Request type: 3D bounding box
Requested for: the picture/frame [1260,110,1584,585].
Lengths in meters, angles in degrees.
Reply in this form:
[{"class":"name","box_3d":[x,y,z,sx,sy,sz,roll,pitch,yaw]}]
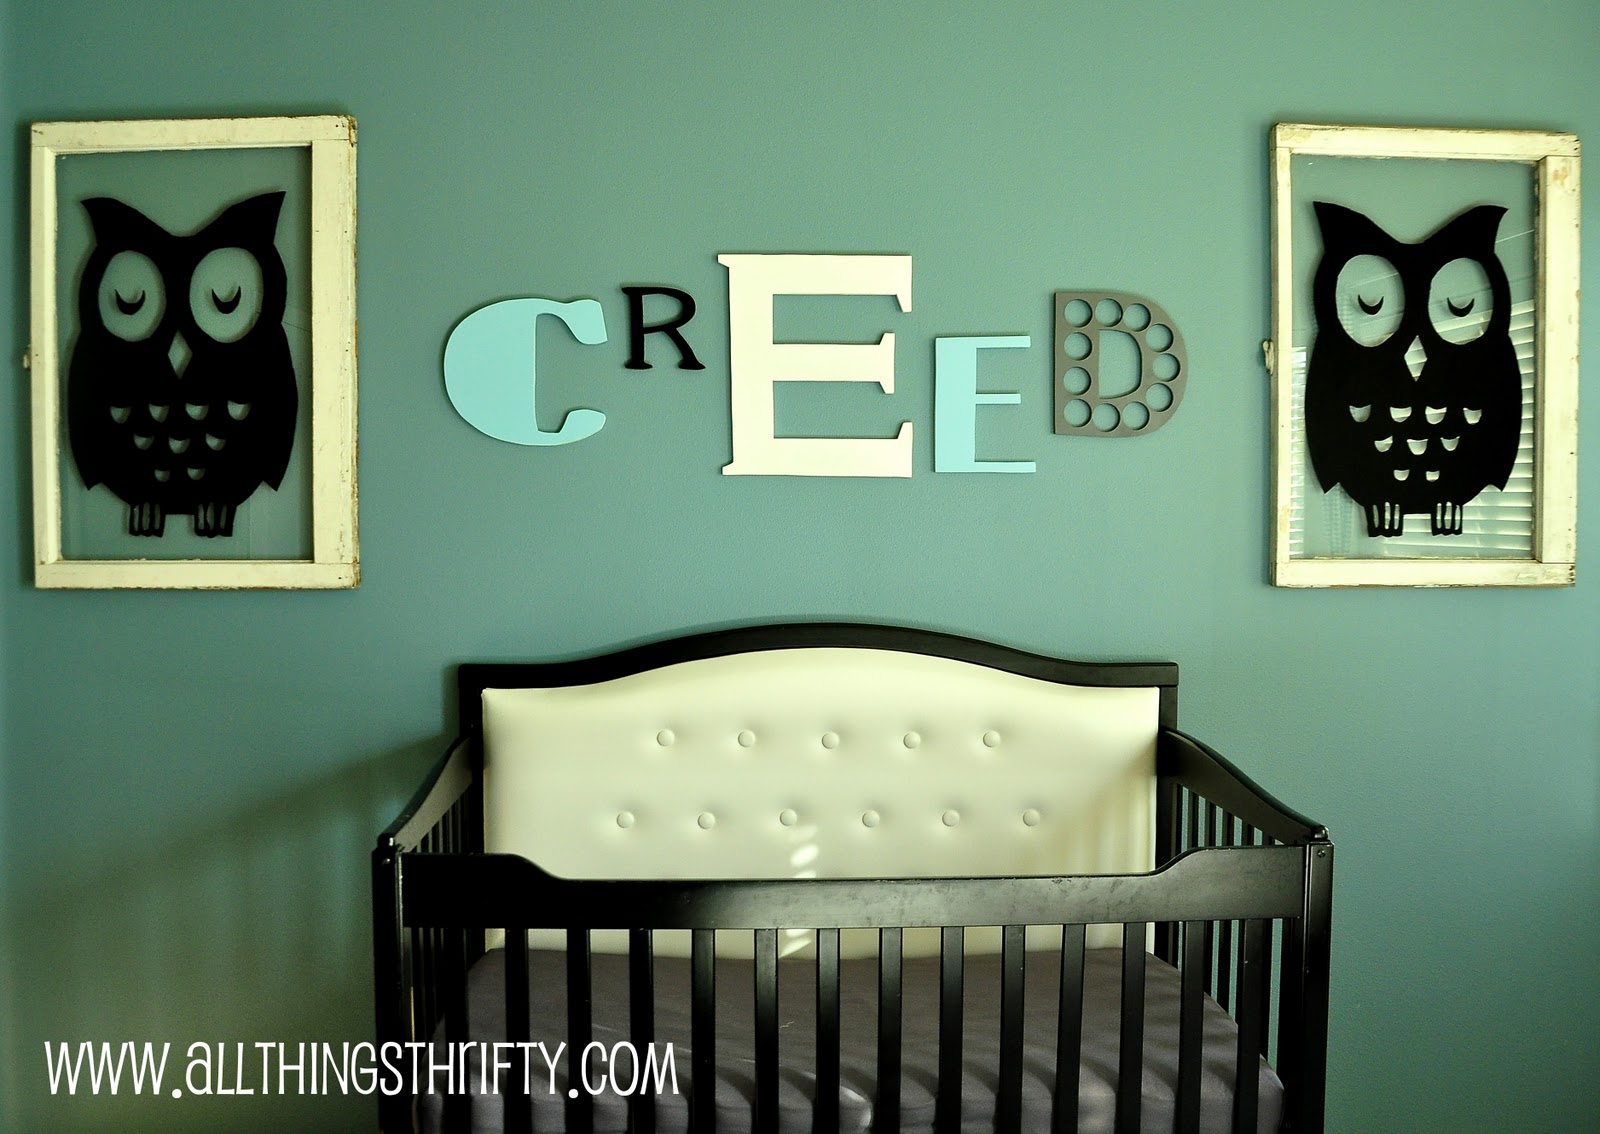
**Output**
[{"class":"picture/frame","box_3d":[1.459,-0.560,4.172,0.971,1.538,0.143,0,-1,-3]}]
